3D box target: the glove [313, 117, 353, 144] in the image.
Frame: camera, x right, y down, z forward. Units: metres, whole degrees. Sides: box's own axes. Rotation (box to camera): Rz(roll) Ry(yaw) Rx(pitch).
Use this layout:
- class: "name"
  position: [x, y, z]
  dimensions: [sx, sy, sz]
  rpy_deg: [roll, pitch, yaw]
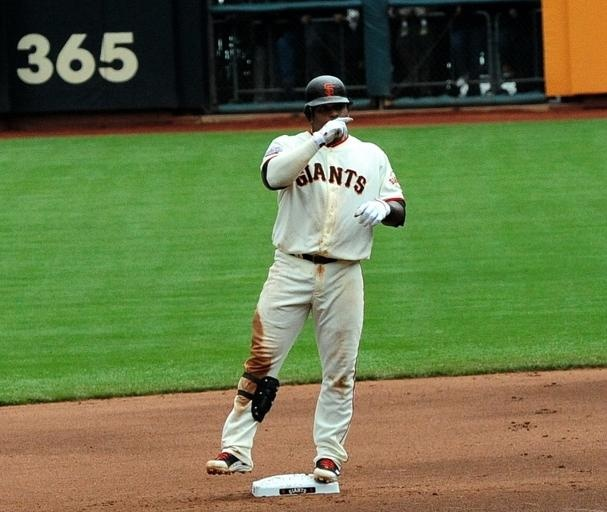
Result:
- class: "glove"
  position: [0.281, -1.243, 16.133]
  dimensions: [0.165, 0.249, 0.458]
  rpy_deg: [42, 8, -20]

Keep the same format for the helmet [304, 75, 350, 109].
- class: "helmet"
  position: [0.211, -1.691, 16.397]
  dimensions: [0.509, 0.308, 0.619]
  rpy_deg: [-6, 5, 9]

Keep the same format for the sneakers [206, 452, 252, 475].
- class: "sneakers"
  position: [-0.779, 2.095, 16.231]
  dimensions: [0.496, 0.257, 0.199]
  rpy_deg: [6, -4, -18]

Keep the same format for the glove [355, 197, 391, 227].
- class: "glove"
  position: [0.706, -0.436, 16.180]
  dimensions: [0.365, 0.247, 0.263]
  rpy_deg: [-1, 4, 3]
